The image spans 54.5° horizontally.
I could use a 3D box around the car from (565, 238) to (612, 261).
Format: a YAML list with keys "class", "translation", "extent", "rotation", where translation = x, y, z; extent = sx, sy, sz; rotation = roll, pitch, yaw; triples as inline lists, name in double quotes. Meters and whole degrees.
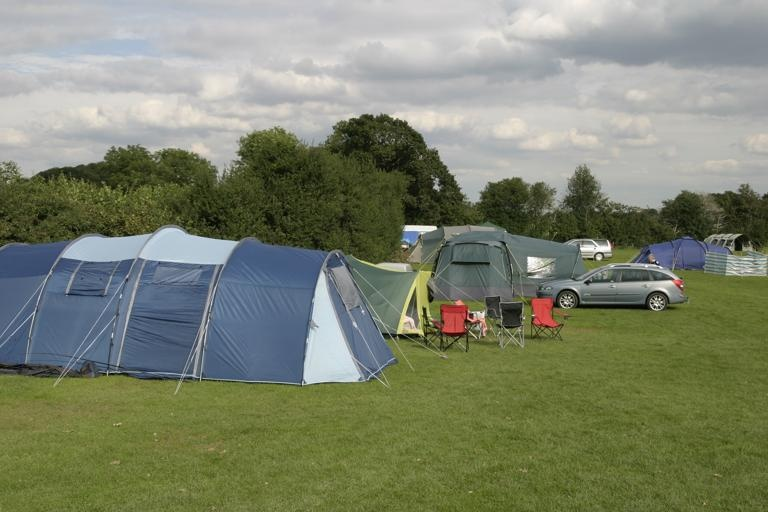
- class: "car"
  translation: [12.520, -0.386, 45.175]
  extent: [3.250, 1.235, 1.565]
  rotation: [4, 3, 4]

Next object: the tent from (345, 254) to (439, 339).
- class: "tent"
  translation: [0.137, 1.148, 22.393]
  extent: [2.511, 1.193, 2.193]
  rotation: [11, 19, 8]

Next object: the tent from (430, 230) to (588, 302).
- class: "tent"
  translation: [4.631, 0.327, 29.387]
  extent: [4.309, 1.639, 3.320]
  rotation: [1, -3, -29]

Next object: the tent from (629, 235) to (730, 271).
- class: "tent"
  translation: [16.814, -0.139, 42.276]
  extent: [3.020, 1.064, 2.936]
  rotation: [-1, 6, -8]
